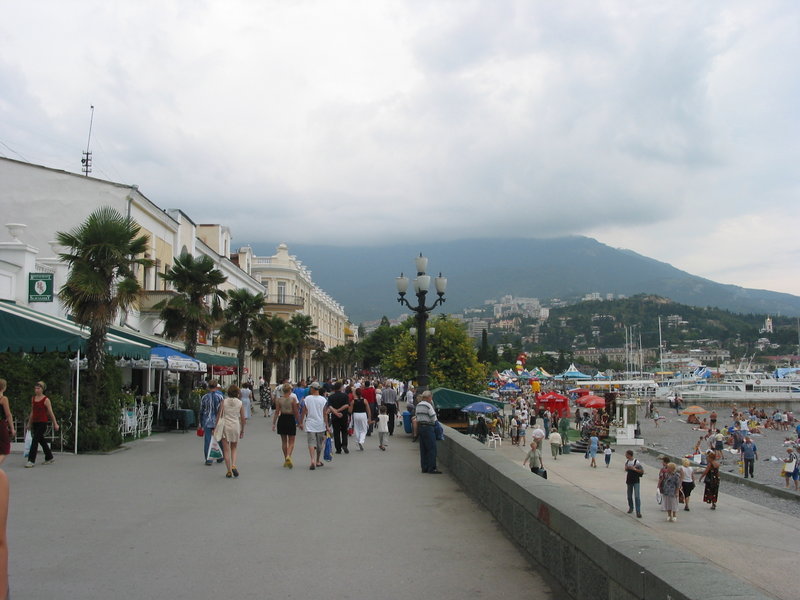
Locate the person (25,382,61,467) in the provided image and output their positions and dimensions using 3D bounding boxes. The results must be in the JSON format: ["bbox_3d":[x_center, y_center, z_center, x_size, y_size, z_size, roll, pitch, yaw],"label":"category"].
[{"bbox_3d":[-8.265,2.845,17.882,0.597,1.855,1.025,2,-5,-25],"label":"person"}]

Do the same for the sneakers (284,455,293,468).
[{"bbox_3d":[-2.617,3.819,17.985,0.129,0.151,0.359,4,-43,1],"label":"sneakers"}]

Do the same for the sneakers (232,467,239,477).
[{"bbox_3d":[-3.536,3.678,16.631,0.127,0.163,0.397,0,-5,-3],"label":"sneakers"}]

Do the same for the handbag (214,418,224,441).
[{"bbox_3d":[-3.969,2.827,17.012,0.129,0.478,0.540,2,-5,-26],"label":"handbag"}]

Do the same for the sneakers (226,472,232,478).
[{"bbox_3d":[-3.634,3.708,16.437,0.119,0.130,0.077,-1,-2,7],"label":"sneakers"}]
